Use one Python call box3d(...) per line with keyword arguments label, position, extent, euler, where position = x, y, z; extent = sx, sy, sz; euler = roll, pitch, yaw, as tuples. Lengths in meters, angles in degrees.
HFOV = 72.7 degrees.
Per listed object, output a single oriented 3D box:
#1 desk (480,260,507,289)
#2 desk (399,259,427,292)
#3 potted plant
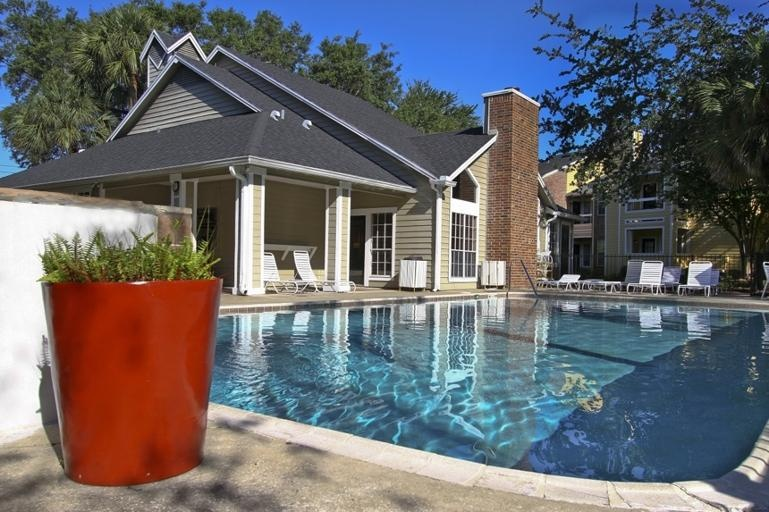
box3d(label="desk", position=(4.195, 0.692, 20.323), extent=(1.221, 1.258, 0.913), euler=(0, 2, 21))
box3d(label="desk", position=(0.828, 0.658, 17.369), extent=(0.973, 1.289, 1.003), euler=(-1, -3, 22))
box3d(label="potted plant", position=(-1.949, 0.756, 4.007), extent=(1.209, 1.888, 0.475), euler=(0, -2, 2))
